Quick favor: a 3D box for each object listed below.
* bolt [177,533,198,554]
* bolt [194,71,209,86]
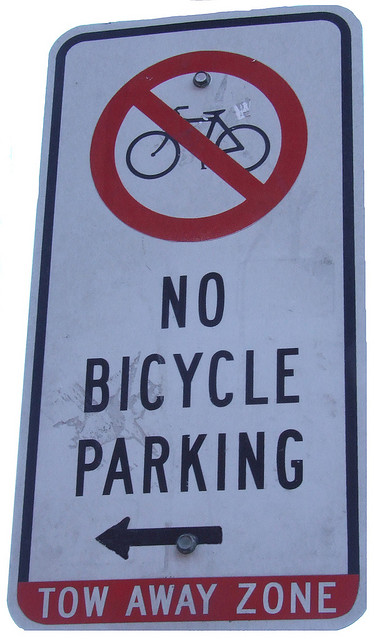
[{"bbox_3d":[-0.001,0.484,1.926,0.044,0.046,0.045,2,74,-2],"label":"bolt"},{"bbox_3d":[0.040,-0.693,2.548,0.043,0.016,0.042,9,76,-1],"label":"bolt"}]
